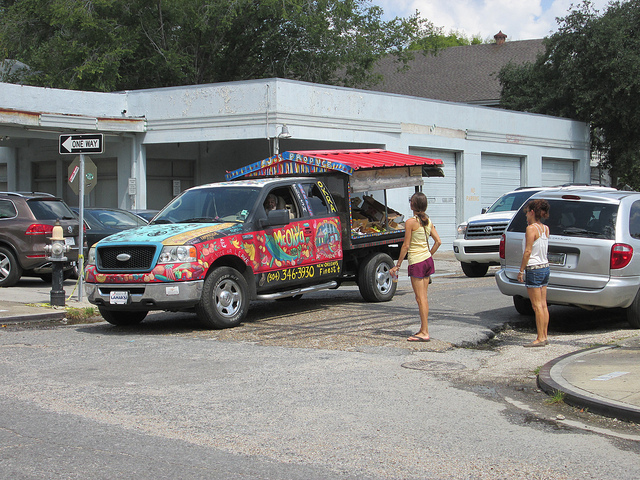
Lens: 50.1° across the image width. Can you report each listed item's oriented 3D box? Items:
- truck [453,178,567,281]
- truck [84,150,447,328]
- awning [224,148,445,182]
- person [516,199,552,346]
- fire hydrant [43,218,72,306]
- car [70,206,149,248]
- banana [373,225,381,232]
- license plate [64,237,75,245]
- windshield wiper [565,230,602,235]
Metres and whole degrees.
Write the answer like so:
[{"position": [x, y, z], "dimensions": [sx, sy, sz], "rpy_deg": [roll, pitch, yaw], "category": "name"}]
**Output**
[{"position": [6.804, -0.399, 20.568], "dimensions": [6.601, 2.694, 2.595], "rpy_deg": [-4, 2, -44], "category": "truck"}, {"position": [-1.002, -0.341, 13.149], "dimensions": [3.088, 2.817, 6.596], "rpy_deg": [-2, -2, 40], "category": "truck"}, {"position": [0.329, -1.609, 14.302], "dimensions": [3.812, 0.745, 2.507], "rpy_deg": [-2, 4, -37], "category": "awning"}, {"position": [3.113, 0.492, 9.924], "dimensions": [0.405, 2.138, 0.584], "rpy_deg": [2, 3, 24], "category": "person"}, {"position": [-5.162, 0.441, 13.474], "dimensions": [0.431, 1.562, 1.002], "rpy_deg": [-1, 3, -20], "category": "fire hydrant"}, {"position": [-5.734, -0.429, 18.607], "dimensions": [2.155, 0.760, 0.940], "rpy_deg": [1, 2, 30], "category": "car"}, {"position": [1.187, -0.232, 14.406], "dimensions": [0.102, 0.029, 0.112], "rpy_deg": [27, 24, 24], "category": "banana"}, {"position": [-5.864, 0.025, 16.033], "dimensions": [0.212, 0.037, 0.230], "rpy_deg": [2, 44, -14], "category": "license plate"}, {"position": [4.093, -0.119, 10.636], "dimensions": [0.505, 0.059, 0.051], "rpy_deg": [2, 4, 27], "category": "windshield wiper"}]
